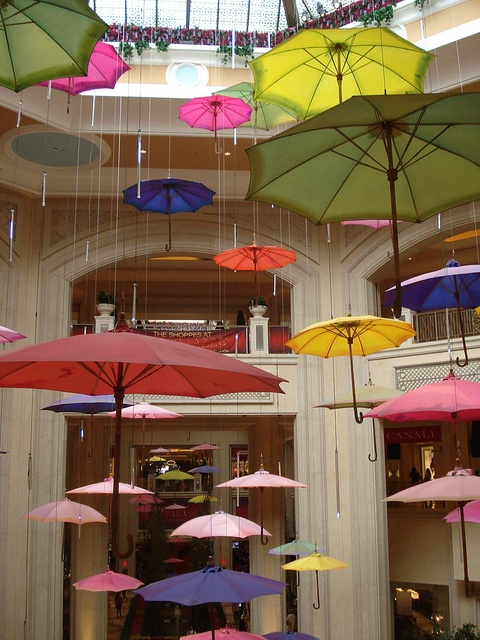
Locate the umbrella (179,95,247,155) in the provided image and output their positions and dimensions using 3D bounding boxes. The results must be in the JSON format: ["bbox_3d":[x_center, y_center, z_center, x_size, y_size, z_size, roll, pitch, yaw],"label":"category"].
[{"bbox_3d":[-0.330,-2.619,10.131,1.011,0.727,1.054,0,-6,-1],"label":"umbrella"}]

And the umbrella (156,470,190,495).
[{"bbox_3d":[-1.455,3.682,17.308,0.720,0.473,0.729,-4,-6,39],"label":"umbrella"}]

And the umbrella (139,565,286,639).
[{"bbox_3d":[-0.301,2.245,6.205,0.778,0.495,0.763,8,-24,-42],"label":"umbrella"}]

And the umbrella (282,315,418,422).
[{"bbox_3d":[1.096,0.556,7.430,1.363,1.058,1.363,-6,-7,14],"label":"umbrella"}]

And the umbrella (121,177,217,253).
[{"bbox_3d":[-1.101,-1.749,12.144,1.469,0.978,1.406,-1,19,-16],"label":"umbrella"}]

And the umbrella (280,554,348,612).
[{"bbox_3d":[1.035,3.489,9.935,0.792,0.754,0.781,3,-6,-21],"label":"umbrella"}]

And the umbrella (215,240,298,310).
[{"bbox_3d":[0.250,-0.708,10.753,1.071,0.679,0.975,1,-12,-9],"label":"umbrella"}]

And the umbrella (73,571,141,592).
[{"bbox_3d":[-1.693,3.475,9.807,0.689,0.225,0.726,7,-14,-36],"label":"umbrella"}]

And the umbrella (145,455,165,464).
[{"bbox_3d":[-2.165,3.613,19.199,0.419,0.172,0.415,-18,-36,27],"label":"umbrella"}]

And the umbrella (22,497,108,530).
[{"bbox_3d":[-2.151,2.474,9.479,0.679,0.252,0.661,16,-29,-27],"label":"umbrella"}]

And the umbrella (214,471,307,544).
[{"bbox_3d":[0.287,2.375,9.282,1.088,0.962,1.140,-12,-17,39],"label":"umbrella"}]

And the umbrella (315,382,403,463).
[{"bbox_3d":[1.681,1.286,9.331,1.465,0.977,1.445,-2,-9,14],"label":"umbrella"}]
